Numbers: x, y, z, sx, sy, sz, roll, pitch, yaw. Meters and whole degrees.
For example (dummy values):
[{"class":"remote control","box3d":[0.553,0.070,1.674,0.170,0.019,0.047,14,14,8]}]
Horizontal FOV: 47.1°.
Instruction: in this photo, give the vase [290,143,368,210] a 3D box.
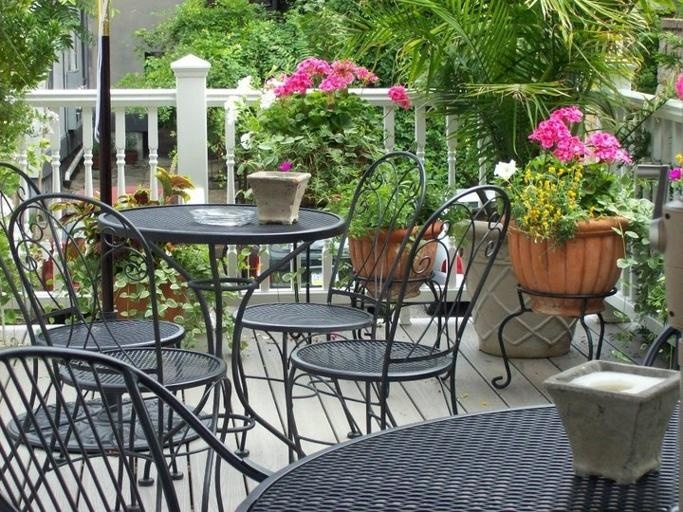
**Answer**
[{"class":"vase","box3d":[-0.053,-0.510,4.648,0.414,0.195,0.413,-21,27,-26]}]

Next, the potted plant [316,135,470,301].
[{"class":"potted plant","box3d":[0.220,-0.151,3.598,0.676,0.907,0.747,1,9,13]}]

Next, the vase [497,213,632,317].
[{"class":"vase","box3d":[0.990,0.022,3.544,0.447,0.357,0.466,2,4,21]}]

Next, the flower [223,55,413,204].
[{"class":"flower","box3d":[-0.130,-0.794,4.866,1.048,1.012,0.910,-1,10,-5]}]

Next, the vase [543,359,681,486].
[{"class":"vase","box3d":[0.450,0.237,1.296,0.182,0.167,0.210,4,7,29]}]
